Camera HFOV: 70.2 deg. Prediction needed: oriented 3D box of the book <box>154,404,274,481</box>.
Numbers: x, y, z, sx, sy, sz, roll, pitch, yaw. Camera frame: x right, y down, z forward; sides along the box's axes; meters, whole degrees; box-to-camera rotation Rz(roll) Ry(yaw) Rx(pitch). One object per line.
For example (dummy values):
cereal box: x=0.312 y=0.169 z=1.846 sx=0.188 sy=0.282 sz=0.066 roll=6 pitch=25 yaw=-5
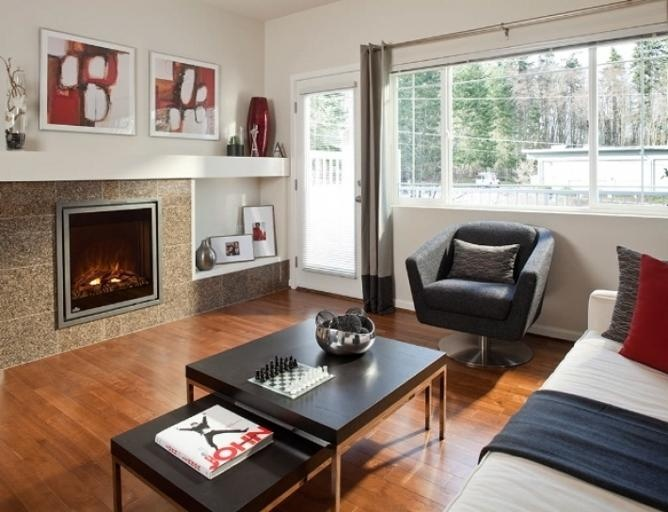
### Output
book: x=-0.478 y=0.727 z=1.893 sx=0.345 sy=0.063 sz=0.307 roll=8 pitch=15 yaw=37

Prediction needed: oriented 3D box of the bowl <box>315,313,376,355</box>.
bowl: x=0.086 y=0.396 z=2.537 sx=0.239 sy=0.145 sz=0.287 roll=1 pitch=-17 yaw=-12

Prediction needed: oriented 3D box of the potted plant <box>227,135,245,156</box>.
potted plant: x=-1.026 y=-1.138 z=4.914 sx=0.229 sy=0.213 sz=0.143 roll=2 pitch=2 yaw=11

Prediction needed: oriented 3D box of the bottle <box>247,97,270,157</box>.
bottle: x=-0.830 y=-1.402 z=5.144 sx=0.258 sy=0.622 sz=0.217 roll=-4 pitch=13 yaw=-9

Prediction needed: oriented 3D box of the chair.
chair: x=1.008 y=0.233 z=3.732 sx=1.211 sy=1.247 sz=1.060 roll=2 pitch=3 yaw=39

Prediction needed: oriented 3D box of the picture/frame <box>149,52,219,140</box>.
picture/frame: x=-1.474 y=-1.546 z=4.552 sx=0.035 sy=0.911 sz=0.982 roll=8 pitch=10 yaw=39

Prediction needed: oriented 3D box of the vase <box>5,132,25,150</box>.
vase: x=-2.288 y=-0.836 z=3.457 sx=0.115 sy=0.122 sz=0.131 roll=2 pitch=7 yaw=3

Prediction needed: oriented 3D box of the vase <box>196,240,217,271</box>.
vase: x=-1.284 y=-0.008 z=4.680 sx=0.197 sy=0.292 sz=0.132 roll=-6 pitch=14 yaw=-20
